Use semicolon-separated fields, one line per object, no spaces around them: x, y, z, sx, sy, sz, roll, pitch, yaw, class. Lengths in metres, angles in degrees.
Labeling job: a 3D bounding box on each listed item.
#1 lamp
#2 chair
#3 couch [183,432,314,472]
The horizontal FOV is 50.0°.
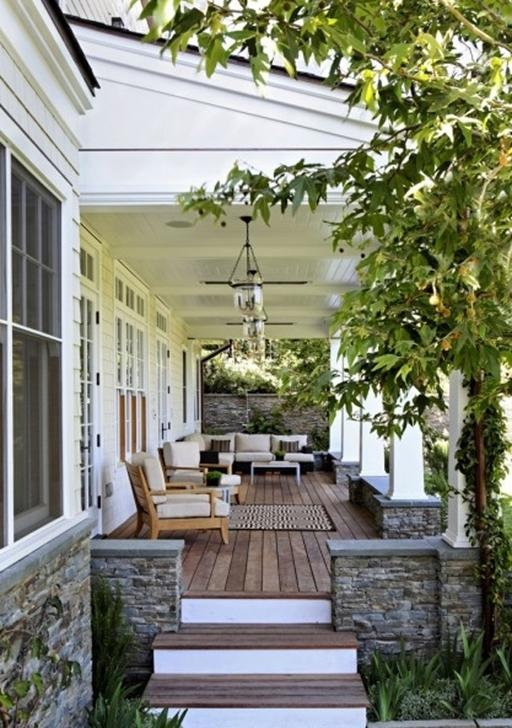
-0.085;-0.776;6.260;0.389;1.554;0.327;2;1;16;lamp
-0.865;1.463;6.003;1.079;0.981;0.983;1;-5;-12;chair
0.005;1.898;12.512;2.122;0.733;1.228;-1;-10;4;couch
